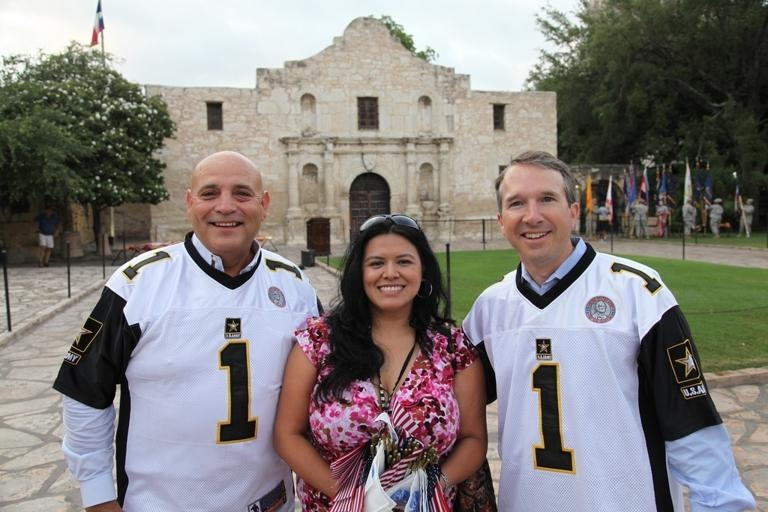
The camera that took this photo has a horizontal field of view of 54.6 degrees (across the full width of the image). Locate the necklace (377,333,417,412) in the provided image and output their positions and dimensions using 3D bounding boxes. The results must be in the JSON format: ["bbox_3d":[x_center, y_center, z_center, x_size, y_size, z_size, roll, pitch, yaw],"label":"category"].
[{"bbox_3d":[0.099,1.286,7.507,0.141,0.491,0.480,32,20,12],"label":"necklace"}]
